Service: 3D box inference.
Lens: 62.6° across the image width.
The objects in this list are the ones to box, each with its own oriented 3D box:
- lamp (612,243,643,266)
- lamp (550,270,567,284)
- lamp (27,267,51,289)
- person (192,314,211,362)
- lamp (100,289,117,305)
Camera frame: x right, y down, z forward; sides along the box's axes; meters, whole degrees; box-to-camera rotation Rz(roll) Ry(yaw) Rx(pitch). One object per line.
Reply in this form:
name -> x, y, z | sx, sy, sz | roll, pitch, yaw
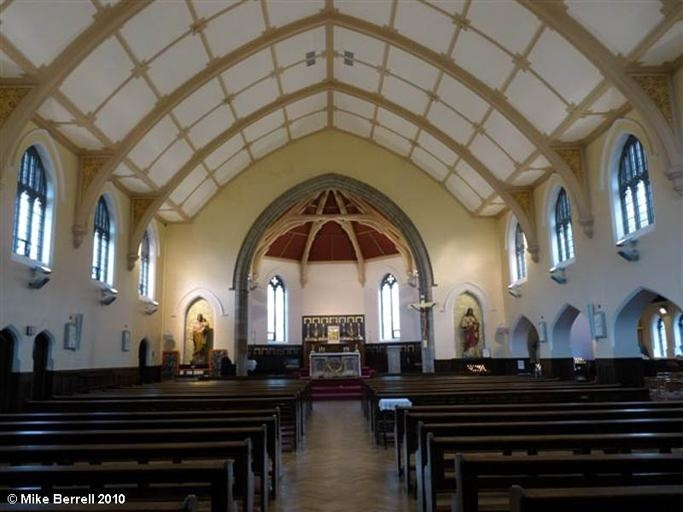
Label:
lamp -> 7.311, -0.087, 14.366 | 0.344, 0.529, 0.542 | 1, -13, -12
lamp -> 6.993, 0.663, 18.165 | 0.360, 0.554, 0.707 | -2, -13, 1
lamp -> -7.717, 0.580, 14.425 | 0.335, 0.578, 0.707 | 0, -13, -4
person -> -5.681, 3.335, 22.768 | 0.765, 1.924, 0.419 | 1, -12, -10
lamp -> -7.443, 1.326, 17.992 | 0.366, 0.538, 0.950 | 0, -13, -7
